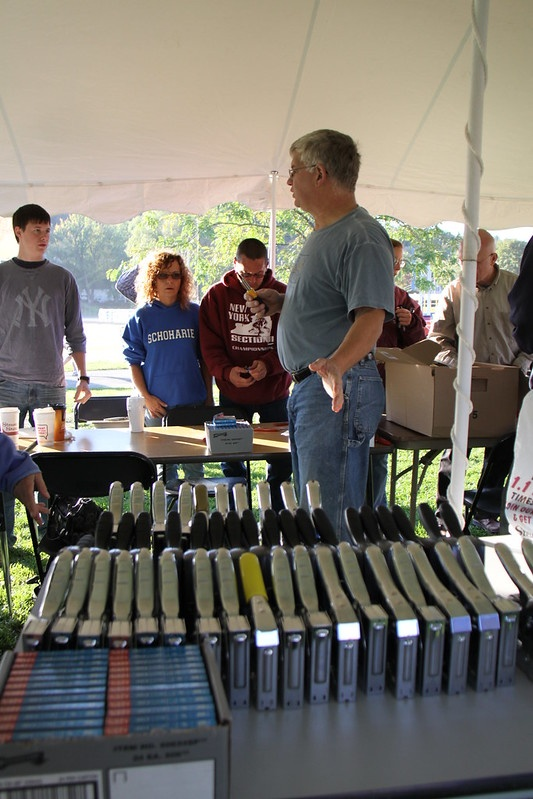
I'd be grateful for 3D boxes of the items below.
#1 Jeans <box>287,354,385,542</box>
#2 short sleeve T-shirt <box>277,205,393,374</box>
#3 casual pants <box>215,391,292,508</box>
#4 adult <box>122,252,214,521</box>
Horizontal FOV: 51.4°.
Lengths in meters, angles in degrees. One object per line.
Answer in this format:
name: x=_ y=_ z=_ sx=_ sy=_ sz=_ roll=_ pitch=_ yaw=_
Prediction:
Jeans: x=0.272 y=0.203 z=2.170 sx=0.323 sy=0.947 sz=0.481 roll=-7 pitch=32 yaw=1
short sleeve T-shirt: x=0.227 y=-0.396 z=2.047 sx=0.315 sy=0.586 sz=0.679 roll=1 pitch=9 yaw=-22
casual pants: x=0.000 y=0.282 z=3.525 sx=0.763 sy=0.724 sz=0.580 roll=-1 pitch=5 yaw=-4
adult: x=-0.681 y=-0.166 z=3.963 sx=0.631 sy=1.794 sz=0.534 roll=-7 pitch=25 yaw=-24
